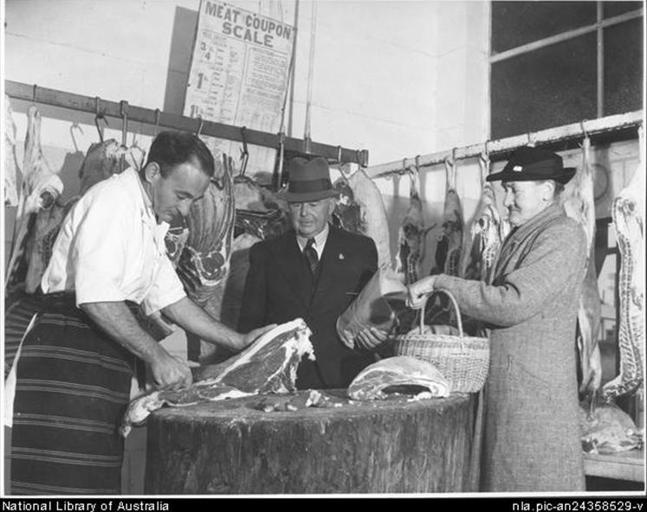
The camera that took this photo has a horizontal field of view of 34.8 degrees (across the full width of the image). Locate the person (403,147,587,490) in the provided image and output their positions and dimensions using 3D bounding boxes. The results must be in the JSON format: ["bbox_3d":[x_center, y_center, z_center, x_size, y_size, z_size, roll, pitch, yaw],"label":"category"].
[{"bbox_3d":[0.925,0.309,4.936,0.671,1.679,0.422,1,3,10],"label":"person"}]

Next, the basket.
[{"bbox_3d":[0.562,0.403,4.804,0.449,0.482,0.326,6,-11,-30],"label":"basket"}]

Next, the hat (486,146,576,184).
[{"bbox_3d":[1.092,-0.436,5.115,0.330,0.151,0.400,8,-2,8],"label":"hat"}]

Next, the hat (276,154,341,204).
[{"bbox_3d":[-0.070,-0.431,5.504,0.318,0.233,0.397,4,10,32],"label":"hat"}]
